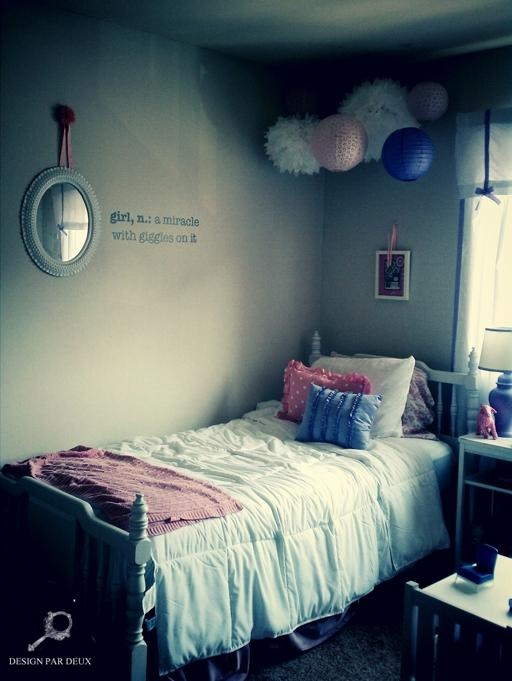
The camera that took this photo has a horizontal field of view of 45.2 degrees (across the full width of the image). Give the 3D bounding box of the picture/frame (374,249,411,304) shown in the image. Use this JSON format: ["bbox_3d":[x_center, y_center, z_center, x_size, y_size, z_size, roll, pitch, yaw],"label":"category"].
[{"bbox_3d":[0.778,-0.360,3.478,0.035,0.342,0.277,-5,8,-40],"label":"picture/frame"}]

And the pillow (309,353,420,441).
[{"bbox_3d":[0.626,0.264,3.079,0.412,0.415,0.128,-3,-28,44],"label":"pillow"}]

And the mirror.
[{"bbox_3d":[-0.827,-0.487,2.537,0.050,0.551,0.468,4,6,34],"label":"mirror"}]

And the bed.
[{"bbox_3d":[-0.041,0.487,2.322,1.320,0.709,0.827,-3,5,-40],"label":"bed"}]

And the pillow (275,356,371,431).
[{"bbox_3d":[0.334,0.298,3.142,0.449,0.342,0.132,12,15,15],"label":"pillow"}]

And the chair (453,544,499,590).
[{"bbox_3d":[0.674,0.690,1.941,0.131,0.166,0.110,2,3,-31],"label":"chair"}]

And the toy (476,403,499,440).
[{"bbox_3d":[1.022,0.366,2.728,0.087,0.148,0.138,-4,-28,20],"label":"toy"}]

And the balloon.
[{"bbox_3d":[0.591,-1.016,3.009,0.626,0.481,0.358,4,8,20],"label":"balloon"}]
